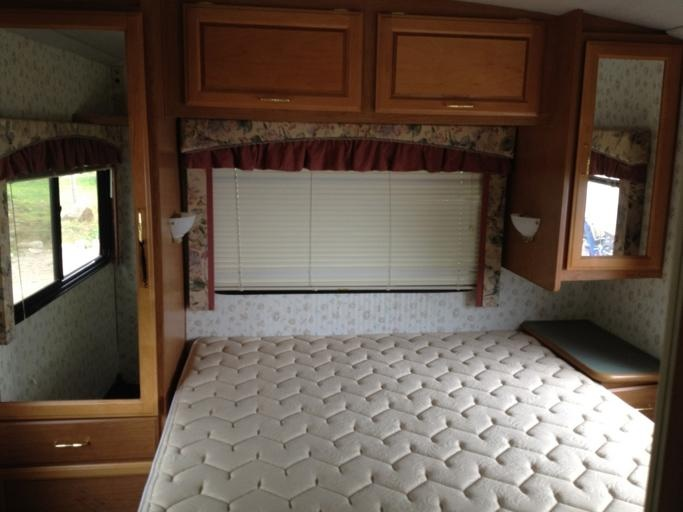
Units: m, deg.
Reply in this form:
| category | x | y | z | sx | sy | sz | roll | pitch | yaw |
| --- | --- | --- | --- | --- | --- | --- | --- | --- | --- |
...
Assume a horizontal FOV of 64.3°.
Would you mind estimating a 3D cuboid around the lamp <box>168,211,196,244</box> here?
| category | x | y | z | sx | sy | sz | roll | pitch | yaw |
| --- | --- | --- | --- | --- | --- | --- | --- | --- | --- |
| lamp | -0.829 | -0.151 | 2.882 | 0.154 | 0.158 | 0.138 | 2 | 4 | -9 |

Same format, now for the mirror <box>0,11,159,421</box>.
| category | x | y | z | sx | sy | sz | roll | pitch | yaw |
| --- | --- | --- | --- | --- | --- | --- | --- | --- | --- |
| mirror | -1.183 | -0.147 | 2.523 | 0.602 | 1.885 | 0.085 | 0 | 10 | -6 |
